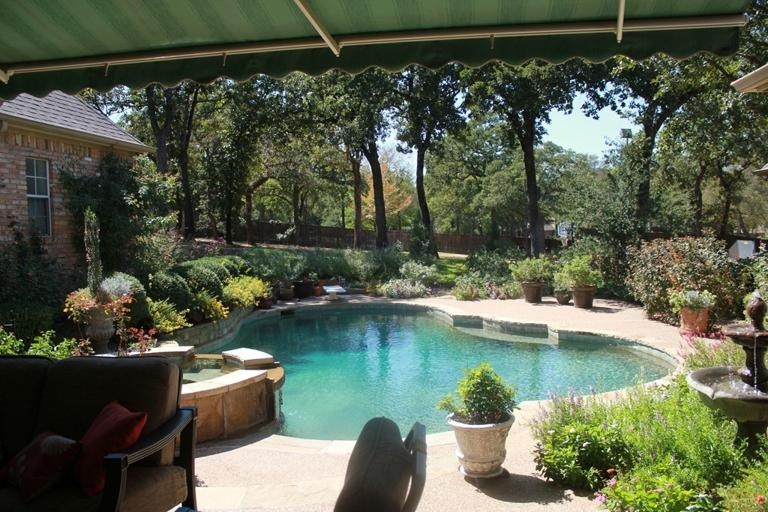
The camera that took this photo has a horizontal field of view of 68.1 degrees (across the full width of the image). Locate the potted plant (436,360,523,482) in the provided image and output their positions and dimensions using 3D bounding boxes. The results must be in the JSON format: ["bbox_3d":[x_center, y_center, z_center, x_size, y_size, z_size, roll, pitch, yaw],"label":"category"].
[{"bbox_3d":[1.184,2.220,7.587,0.792,1.341,0.879,-2,-1,18],"label":"potted plant"}]

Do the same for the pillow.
[{"bbox_3d":[-3.079,1.924,5.788,1.556,0.783,0.703,-6,-8,29],"label":"pillow"}]

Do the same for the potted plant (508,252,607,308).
[{"bbox_3d":[5.784,0.746,19.121,2.039,1.661,3.252,-2,5,-8],"label":"potted plant"}]
